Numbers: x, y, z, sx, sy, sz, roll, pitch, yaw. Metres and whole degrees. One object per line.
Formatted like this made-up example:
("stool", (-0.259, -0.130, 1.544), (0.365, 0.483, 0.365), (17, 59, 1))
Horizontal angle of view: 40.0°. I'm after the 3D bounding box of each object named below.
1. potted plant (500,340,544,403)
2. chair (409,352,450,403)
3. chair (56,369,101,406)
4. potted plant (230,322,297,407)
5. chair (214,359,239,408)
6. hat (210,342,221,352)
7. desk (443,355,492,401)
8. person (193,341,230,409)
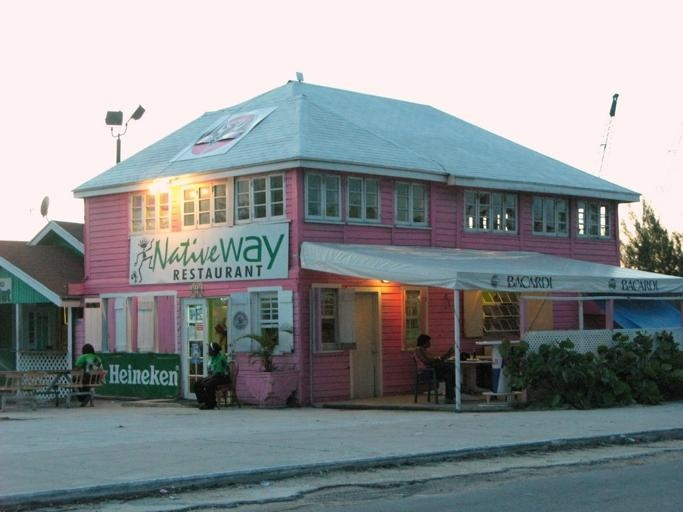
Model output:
("potted plant", (3.921, 2.484, 20.318), (0.886, 1.332, 0.905), (0, -6, 17))
("chair", (2.211, 2.815, 22.242), (0.998, 1.003, 0.939), (-3, -1, 3))
("chair", (-6.749, 3.255, 23.717), (1.283, 0.726, 1.285), (-4, -5, 33))
("potted plant", (-1.723, 2.642, 22.292), (1.382, 1.549, 1.182), (-5, -2, 28))
("chair", (-2.914, 3.043, 22.725), (0.731, 1.047, 0.719), (2, -6, -26))
("hat", (-3.016, 2.154, 22.327), (0.255, 0.200, 0.217), (1, 5, -3))
("desk", (3.255, 3.018, 23.752), (0.959, 0.777, 1.723), (-2, -2, 21))
("person", (-3.049, 2.795, 22.214), (0.786, 1.559, 0.999), (3, -6, -8))
